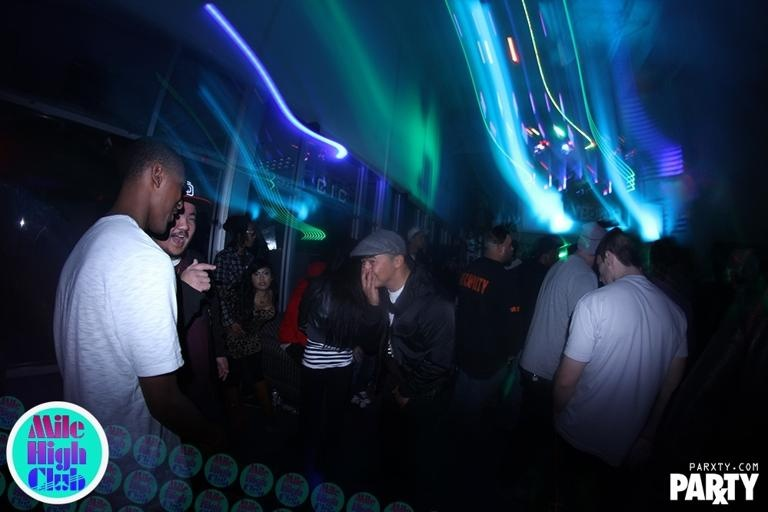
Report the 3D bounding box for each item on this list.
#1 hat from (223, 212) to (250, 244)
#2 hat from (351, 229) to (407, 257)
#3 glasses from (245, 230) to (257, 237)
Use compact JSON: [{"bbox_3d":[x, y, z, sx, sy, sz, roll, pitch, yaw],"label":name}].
[{"bbox_3d":[-2.351,-0.437,7.080,0.370,0.480,0.498,8,18,21],"label":"hat"},{"bbox_3d":[-0.049,-0.105,5.674,0.501,0.269,0.375,9,-12,-2],"label":"hat"},{"bbox_3d":[-2.097,-0.354,7.036,0.107,0.094,0.150,20,36,30],"label":"glasses"}]
